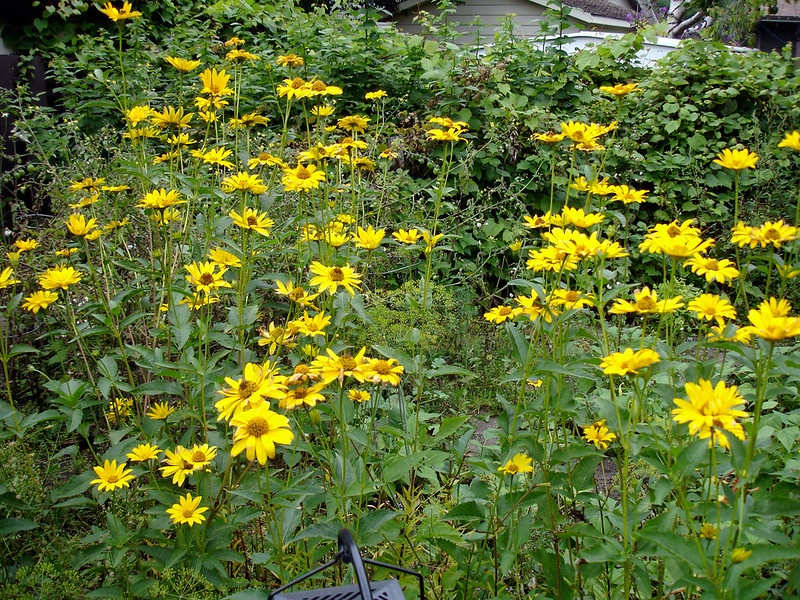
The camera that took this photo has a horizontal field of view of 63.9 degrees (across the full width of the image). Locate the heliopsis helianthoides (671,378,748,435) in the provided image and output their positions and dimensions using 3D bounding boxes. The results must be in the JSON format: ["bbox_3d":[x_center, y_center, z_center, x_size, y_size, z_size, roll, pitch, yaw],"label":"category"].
[{"bbox_3d":[0.888,0.310,1.867,0.181,0.153,0.137,-2,27,3],"label":"heliopsis helianthoides"}]

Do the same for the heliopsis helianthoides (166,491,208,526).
[{"bbox_3d":[-0.759,0.753,2.291,0.136,0.035,0.131,2,45,-5],"label":"heliopsis helianthoides"}]

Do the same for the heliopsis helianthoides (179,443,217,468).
[{"bbox_3d":[-0.732,0.565,2.336,0.105,0.041,0.104,15,32,28],"label":"heliopsis helianthoides"}]

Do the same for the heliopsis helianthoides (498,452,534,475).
[{"bbox_3d":[0.428,0.602,2.331,0.106,0.037,0.105,8,33,33],"label":"heliopsis helianthoides"}]

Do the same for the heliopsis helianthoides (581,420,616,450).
[{"bbox_3d":[0.761,0.539,2.503,0.131,0.058,0.123,-13,40,-5],"label":"heliopsis helianthoides"}]

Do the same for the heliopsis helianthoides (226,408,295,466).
[{"bbox_3d":[-0.418,0.423,2.046,0.193,0.187,0.173,18,63,-3],"label":"heliopsis helianthoides"}]

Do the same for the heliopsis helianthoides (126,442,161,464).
[{"bbox_3d":[-0.980,0.607,2.474,0.101,0.034,0.098,-19,27,-26],"label":"heliopsis helianthoides"}]
